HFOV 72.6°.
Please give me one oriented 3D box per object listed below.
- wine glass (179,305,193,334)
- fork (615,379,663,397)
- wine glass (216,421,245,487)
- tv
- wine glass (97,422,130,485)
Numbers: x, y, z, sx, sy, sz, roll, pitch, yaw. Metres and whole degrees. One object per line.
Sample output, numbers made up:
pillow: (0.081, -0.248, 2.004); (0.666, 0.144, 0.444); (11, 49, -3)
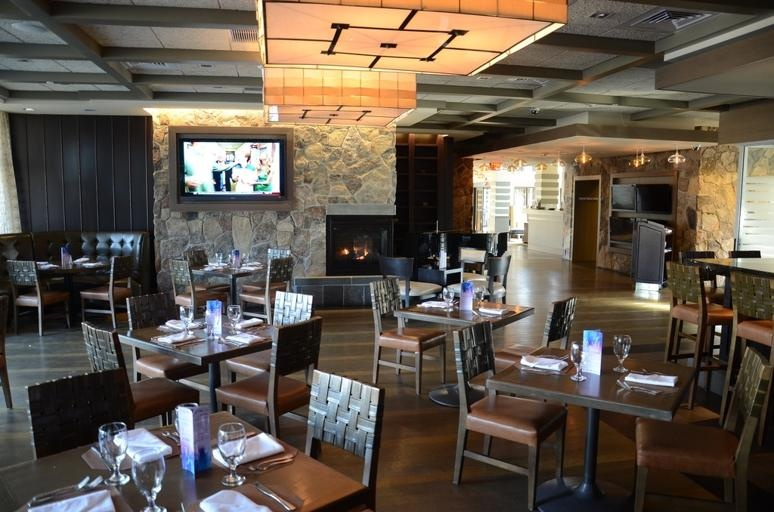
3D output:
wine glass: (-1.856, 0.572, 4.900); (0.105, 0.244, 0.244); (-6, 8, -21)
fork: (1.785, 0.952, 3.901); (0.085, 0.056, 0.406); (-23, 18, -40)
wine glass: (-0.876, 1.110, 2.985); (0.140, 0.364, 0.217); (-5, 8, -18)
tv: (-2.873, -1.617, 9.434); (1.727, 0.714, 0.064); (0, 6, -4)
wine glass: (-1.552, 1.119, 3.017); (0.138, 0.382, 0.258); (-6, 9, -24)
